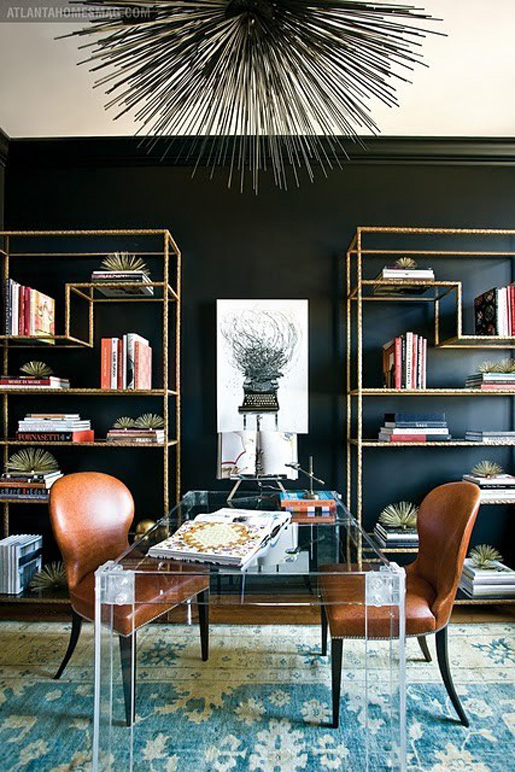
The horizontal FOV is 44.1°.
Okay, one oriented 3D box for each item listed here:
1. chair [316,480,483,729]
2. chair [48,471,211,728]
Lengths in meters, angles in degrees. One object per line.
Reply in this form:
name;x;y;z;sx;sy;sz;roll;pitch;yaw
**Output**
chair;0.496;0.774;2.446;0.596;0.851;0.621;3;0;-14
chair;-0.502;0.760;2.486;0.515;0.798;0.496;3;8;43
